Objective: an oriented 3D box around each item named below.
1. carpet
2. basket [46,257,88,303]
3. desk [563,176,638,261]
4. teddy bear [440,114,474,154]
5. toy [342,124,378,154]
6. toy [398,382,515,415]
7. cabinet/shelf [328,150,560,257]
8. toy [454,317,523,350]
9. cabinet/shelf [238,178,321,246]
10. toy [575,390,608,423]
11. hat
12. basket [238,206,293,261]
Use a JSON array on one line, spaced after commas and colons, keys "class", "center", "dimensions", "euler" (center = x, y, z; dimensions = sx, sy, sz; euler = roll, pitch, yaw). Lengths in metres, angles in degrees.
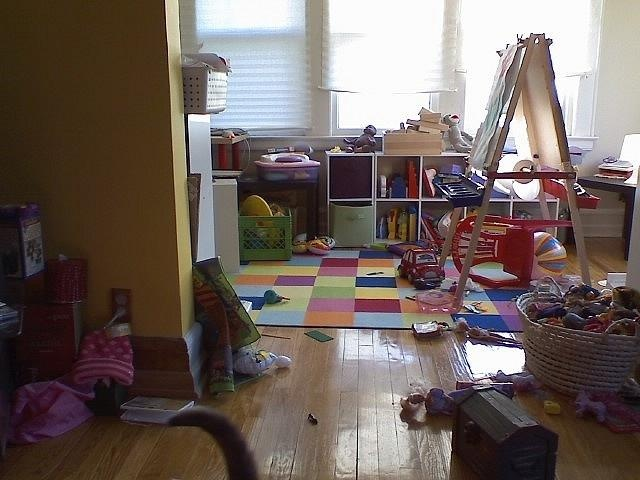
[{"class": "carpet", "center": [0.050, 0.319, 3.248], "dimensions": [1.290, 0.097, 1.464], "euler": [-5, 14, -7]}, {"class": "basket", "center": [-1.011, 0.154, 1.878], "dimensions": [0.158, 0.184, 0.161], "euler": [2, 3, 2]}, {"class": "desk", "center": [2.219, -0.182, 3.695], "dimensions": [0.331, 0.413, 0.636], "euler": [-3, 25, 4]}, {"class": "teddy bear", "center": [1.267, -0.982, 4.297], "dimensions": [0.267, 0.336, 0.284], "euler": [1, 15, 17]}, {"class": "toy", "center": [0.383, -0.925, 4.272], "dimensions": [0.310, 0.236, 0.284], "euler": [-3, 14, 0]}, {"class": "toy", "center": [0.521, 0.608, 1.787], "dimensions": [0.285, 0.098, 0.097], "euler": [-11, 15, 6]}, {"class": "cabinet/shelf", "center": [0.916, -0.298, 4.233], "dimensions": [1.617, 0.937, 0.452], "euler": [0, -18, 13]}, {"class": "toy", "center": [0.894, 0.509, 2.506], "dimensions": [0.338, 0.095, 0.115], "euler": [18, 14, 28]}, {"class": "cabinet/shelf", "center": [-0.359, -0.367, 4.326], "dimensions": [0.704, 0.707, 0.546], "euler": [0, 15, -1]}, {"class": "toy", "center": [1.081, 0.663, 1.861], "dimensions": [0.086, 0.028, 0.089], "euler": [6, 28, 27]}, {"class": "hat", "center": [-0.864, 0.473, 1.878], "dimensions": [0.216, 0.081, 0.220], "euler": [4, 43, -26]}, {"class": "basket", "center": [-0.440, -0.046, 3.798], "dimensions": [0.374, 0.286, 0.379], "euler": [-1, 7, -3]}]
